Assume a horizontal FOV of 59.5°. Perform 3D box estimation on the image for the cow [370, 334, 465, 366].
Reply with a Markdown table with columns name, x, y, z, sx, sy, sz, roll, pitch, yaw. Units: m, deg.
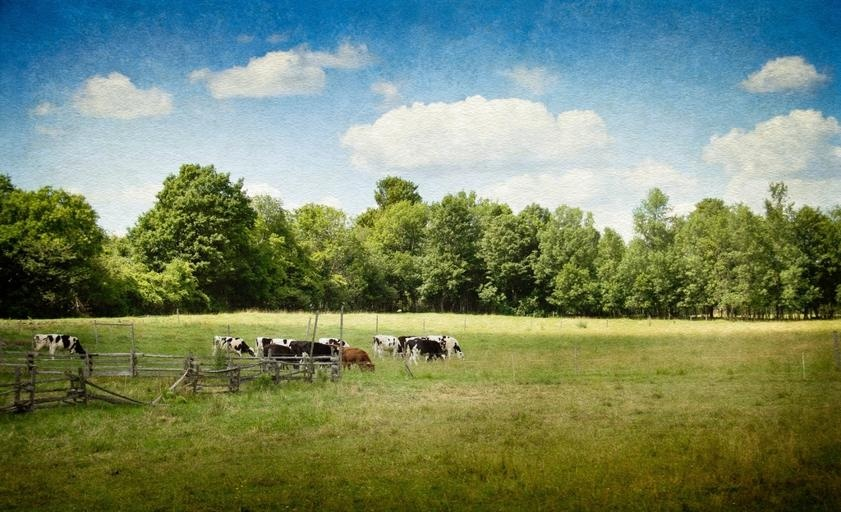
| name | x | y | z | sx | sy | sz | roll | pitch | yaw |
| --- | --- | --- | --- | --- | --- | --- | --- | --- | --- |
| cow | -0.446 | 6.291 | 50.944 | 5.857 | 1.663 | 2.460 | 2 | 0 | 18 |
